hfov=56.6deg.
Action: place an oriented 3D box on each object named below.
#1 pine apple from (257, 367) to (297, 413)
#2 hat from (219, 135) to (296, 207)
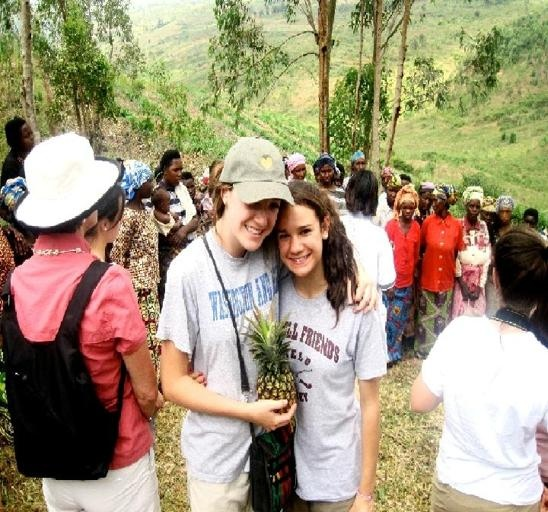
[{"bbox_3d":[0.013,0.718,2.730,0.206,0.234,0.148,-4,19,-4],"label":"pine apple"},{"bbox_3d":[-0.095,-0.447,2.681,0.388,0.339,0.358,-5,20,-6],"label":"hat"}]
